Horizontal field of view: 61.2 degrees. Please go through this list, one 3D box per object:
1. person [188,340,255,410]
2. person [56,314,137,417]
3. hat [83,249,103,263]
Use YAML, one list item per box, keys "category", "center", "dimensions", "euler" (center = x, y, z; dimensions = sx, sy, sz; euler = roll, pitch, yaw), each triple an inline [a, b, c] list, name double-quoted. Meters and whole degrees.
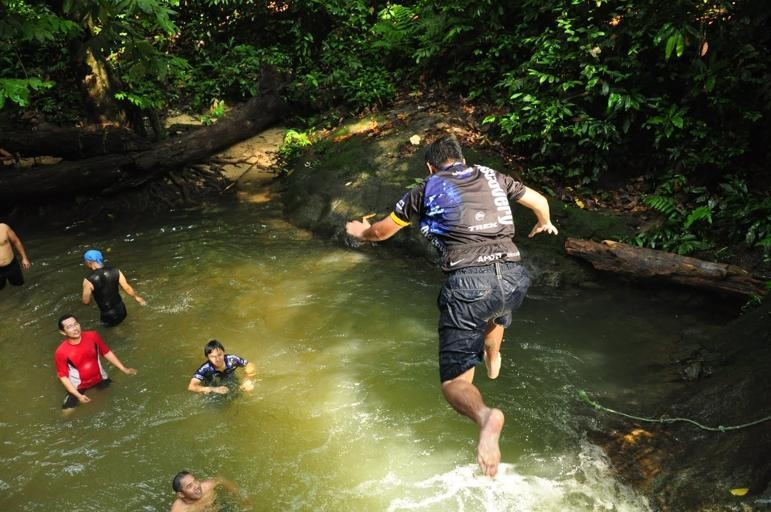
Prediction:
- category: "person"
  center: [-3.008, 2.143, 12.084]
  dimensions: [1.270, 1.004, 0.629]
  euler: [-2, 27, -17]
- category: "person"
  center: [-5.504, 1.929, 11.995]
  dimensions: [1.002, 1.589, 0.764]
  euler: [-7, 29, -25]
- category: "hat"
  center: [-6.279, 0.008, 13.933]
  dimensions: [0.235, 0.245, 0.267]
  euler: [-24, 34, -36]
